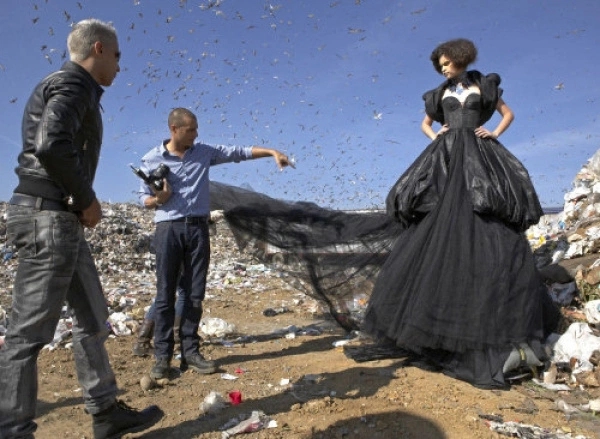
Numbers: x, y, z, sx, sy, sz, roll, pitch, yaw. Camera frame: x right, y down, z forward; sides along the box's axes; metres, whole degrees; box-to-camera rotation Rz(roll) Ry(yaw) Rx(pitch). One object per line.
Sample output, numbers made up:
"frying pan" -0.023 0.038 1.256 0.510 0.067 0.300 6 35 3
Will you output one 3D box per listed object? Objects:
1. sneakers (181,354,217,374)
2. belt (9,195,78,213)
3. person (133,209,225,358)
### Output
"sneakers" -1.017 1.477 4.131 0.374 0.155 0.174 0 -1 19
"belt" -1.749 -0.102 2.711 0.450 0.108 0.125 -2 2 6
"person" -1.219 0.522 4.138 0.558 1.921 0.455 11 45 -8
